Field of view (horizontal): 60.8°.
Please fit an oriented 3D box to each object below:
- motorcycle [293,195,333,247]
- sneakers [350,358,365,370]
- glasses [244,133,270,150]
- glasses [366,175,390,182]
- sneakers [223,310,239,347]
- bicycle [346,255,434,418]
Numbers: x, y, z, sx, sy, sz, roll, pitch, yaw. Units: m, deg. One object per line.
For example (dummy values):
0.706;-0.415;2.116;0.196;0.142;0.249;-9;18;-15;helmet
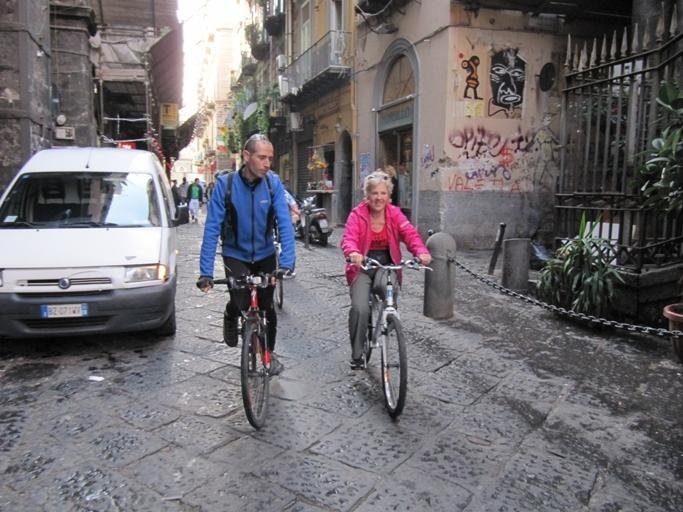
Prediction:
-0.665;-0.957;14.682;0.620;0.977;1.559;-8;14;-14;motorcycle
0.152;1.002;5.437;0.127;0.090;0.220;0;-7;1;sneakers
-0.728;-0.974;4.999;0.187;0.130;0.209;-7;17;-28;glasses
0.342;-0.741;5.465;0.216;0.071;0.145;2;15;1;glasses
-1.007;0.661;5.262;0.107;0.363;0.135;-2;3;-3;sneakers
0.411;0.670;5.122;0.458;1.276;1.014;0;14;-4;bicycle
